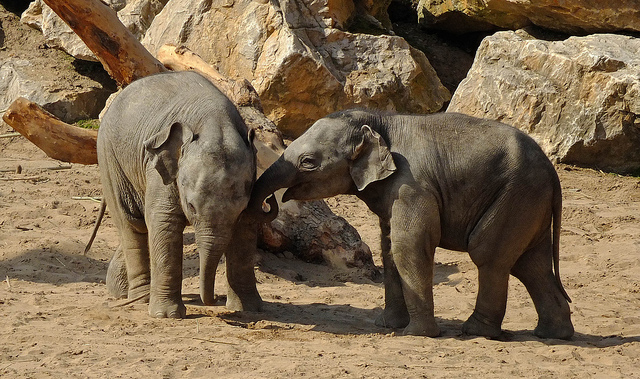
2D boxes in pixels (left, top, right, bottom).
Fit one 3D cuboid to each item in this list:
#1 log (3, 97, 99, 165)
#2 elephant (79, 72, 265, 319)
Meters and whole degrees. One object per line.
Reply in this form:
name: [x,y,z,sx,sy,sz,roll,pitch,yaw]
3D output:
log: [-4.572,-1.019,20.928,1.526,1.118,0.273,-1,4,-14]
elephant: [-2.159,0.067,18.769,2.443,3.753,0.990,2,4,22]
